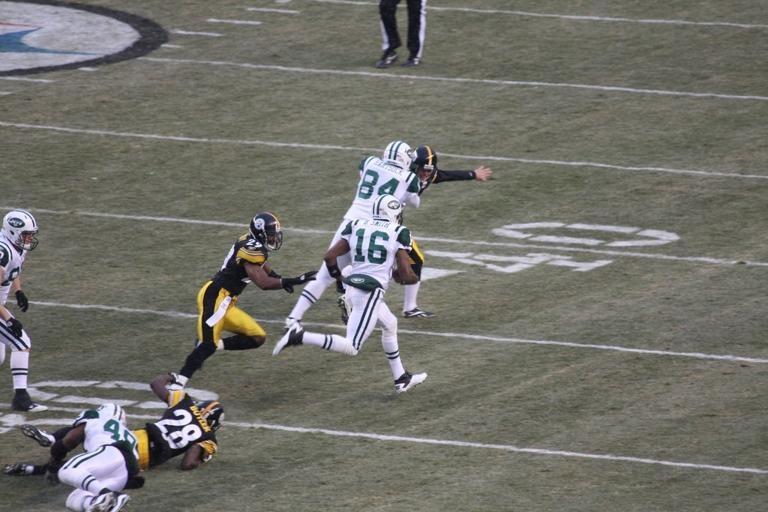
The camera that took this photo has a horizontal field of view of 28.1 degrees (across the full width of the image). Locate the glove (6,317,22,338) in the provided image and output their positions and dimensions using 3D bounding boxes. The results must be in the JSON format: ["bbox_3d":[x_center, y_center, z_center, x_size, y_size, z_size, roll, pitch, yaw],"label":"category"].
[{"bbox_3d":[-4.407,0.839,18.347,0.137,0.250,0.157,16,27,25],"label":"glove"}]

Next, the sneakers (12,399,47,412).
[{"bbox_3d":[-4.267,1.790,18.343,0.511,0.106,0.129,1,12,-8],"label":"sneakers"}]

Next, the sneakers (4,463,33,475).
[{"bbox_3d":[-4.159,2.397,17.388,0.416,0.078,0.146,-1,-9,-19],"label":"sneakers"}]

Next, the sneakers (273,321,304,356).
[{"bbox_3d":[-1.162,0.991,18.572,0.353,0.426,0.201,2,25,-3],"label":"sneakers"}]
